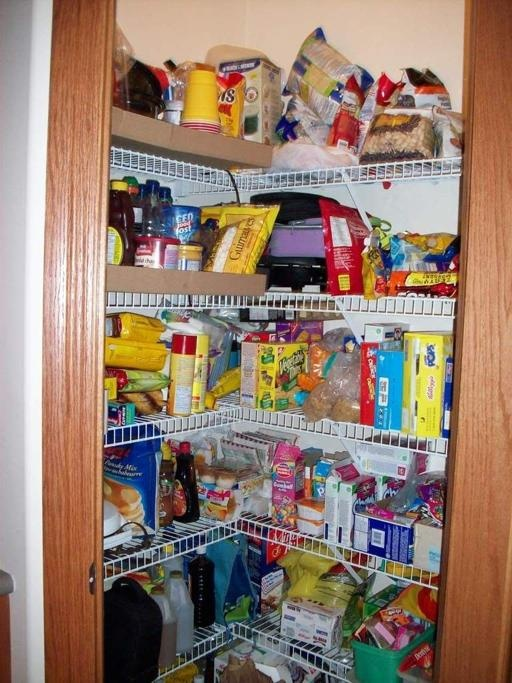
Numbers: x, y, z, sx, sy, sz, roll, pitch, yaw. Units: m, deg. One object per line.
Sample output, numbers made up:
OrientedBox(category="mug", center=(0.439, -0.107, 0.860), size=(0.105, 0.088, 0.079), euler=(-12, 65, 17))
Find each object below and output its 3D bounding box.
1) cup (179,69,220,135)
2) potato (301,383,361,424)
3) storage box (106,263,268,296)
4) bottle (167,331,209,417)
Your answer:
OrientedBox(category="cup", center=(-0.128, -0.570, 1.360), size=(0.092, 0.160, 0.064), euler=(2, 3, -8))
OrientedBox(category="potato", center=(0.199, 0.168, 1.544), size=(0.123, 0.095, 0.034), euler=(3, 3, 41))
OrientedBox(category="storage box", center=(-0.156, -0.146, 1.399), size=(0.106, 0.067, 0.533), euler=(4, 4, 30))
OrientedBox(category="bottle", center=(-0.184, 0.087, 1.551), size=(0.101, 0.218, 0.061), euler=(2, 3, -8))
